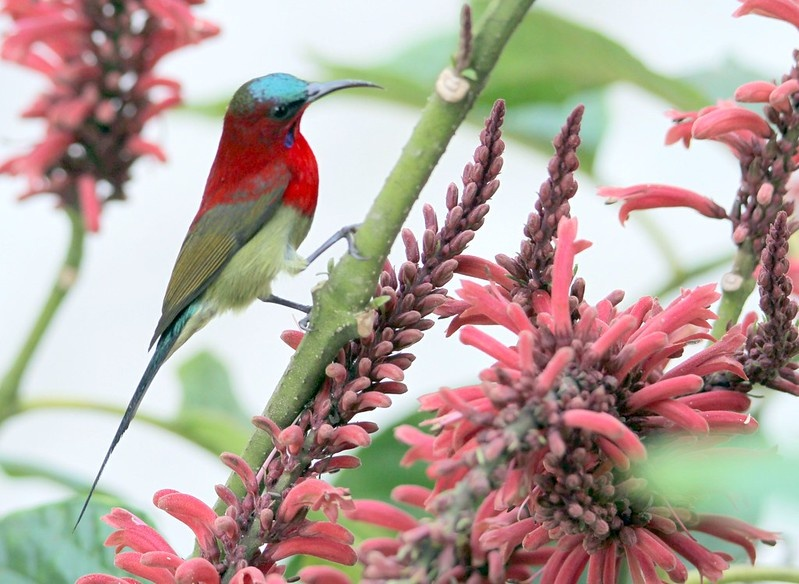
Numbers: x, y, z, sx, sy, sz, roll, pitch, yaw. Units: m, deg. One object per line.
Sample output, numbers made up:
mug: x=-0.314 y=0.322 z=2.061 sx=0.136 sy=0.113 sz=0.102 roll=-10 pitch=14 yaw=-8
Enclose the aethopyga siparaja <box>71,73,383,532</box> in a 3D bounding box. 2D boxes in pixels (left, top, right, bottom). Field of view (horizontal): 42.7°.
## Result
aethopyga siparaja: x=-0.263 y=-0.024 z=1.446 sx=0.509 sy=0.137 sz=0.466 roll=-16 pitch=-87 yaw=2
